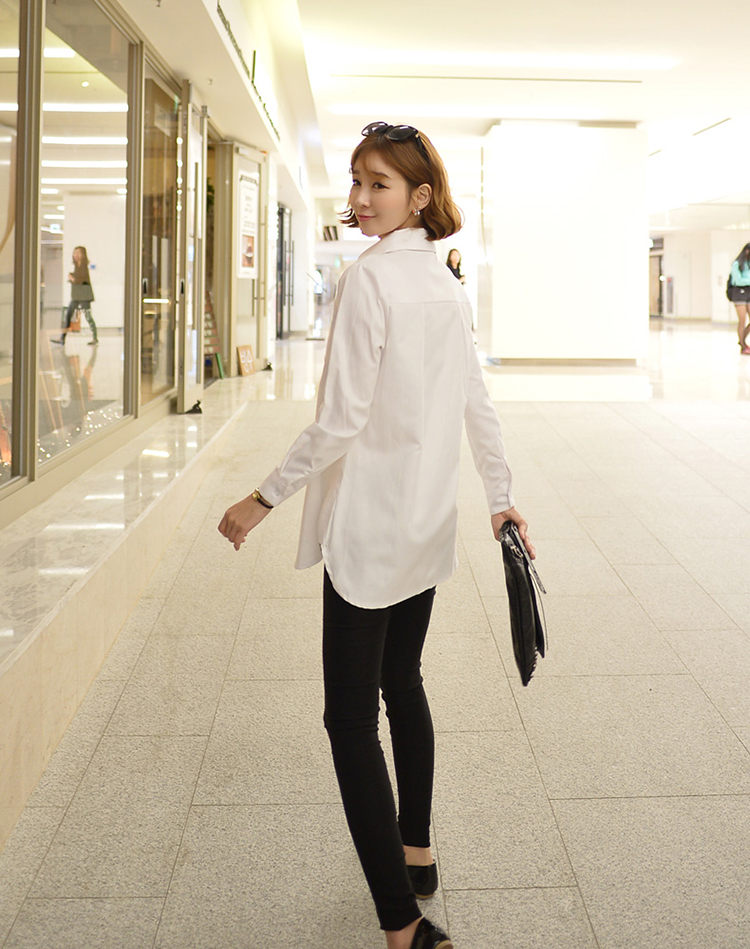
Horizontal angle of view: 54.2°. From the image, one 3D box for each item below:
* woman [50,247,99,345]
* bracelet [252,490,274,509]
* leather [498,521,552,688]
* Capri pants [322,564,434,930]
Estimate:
[{"bbox_3d":[-1.855,-1.112,4.554,0.299,0.608,0.159,-9,22,-44],"label":"woman"},{"bbox_3d":[-0.162,0.035,1.090,0.012,0.028,0.031,-42,47,-10],"label":"bracelet"},{"bbox_3d":[0.243,0.208,1.235,0.052,0.171,0.175,-1,6,-6],"label":"leather"},{"bbox_3d":[0.011,0.423,1.229,0.168,0.574,0.322,1,6,5],"label":"Capri pants"}]
